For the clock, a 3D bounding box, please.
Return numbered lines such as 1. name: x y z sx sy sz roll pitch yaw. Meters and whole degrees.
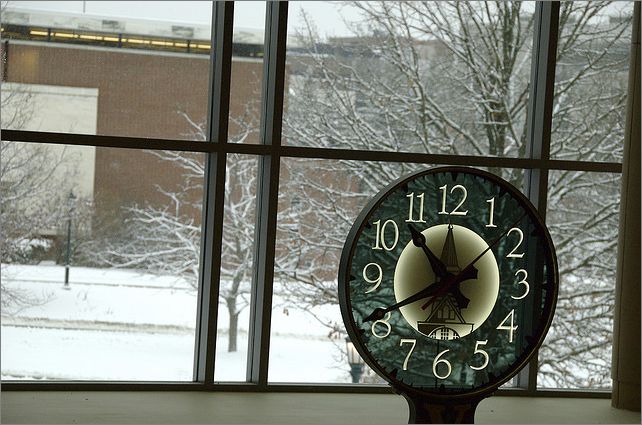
1. clock: 0.906 0.528 8.788 1.947 1.863 0.265 -1 1 -5
